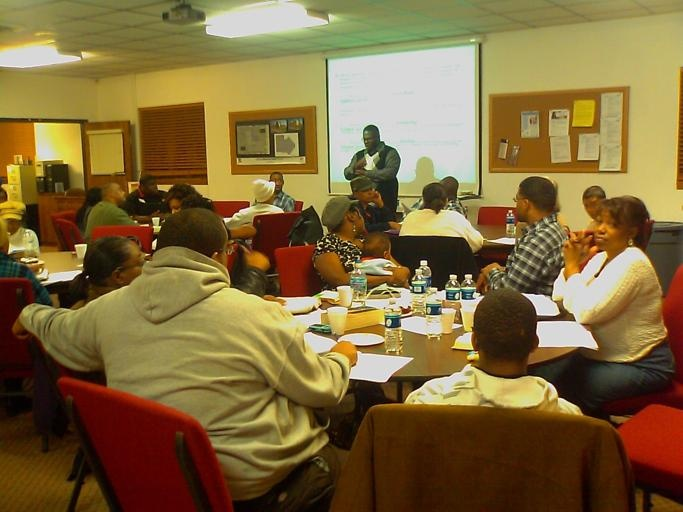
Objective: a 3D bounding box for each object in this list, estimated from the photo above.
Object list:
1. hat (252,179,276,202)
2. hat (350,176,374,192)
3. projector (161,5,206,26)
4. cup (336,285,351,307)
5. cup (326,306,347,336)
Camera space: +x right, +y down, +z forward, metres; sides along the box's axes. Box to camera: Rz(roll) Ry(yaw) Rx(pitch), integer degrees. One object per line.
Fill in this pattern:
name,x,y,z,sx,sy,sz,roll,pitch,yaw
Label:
hat,-0.919,-0.750,6.161,0.269,0.229,0.144,37,4,40
hat,0.199,-0.692,5.294,0.195,0.090,0.138,-11,14,1
projector,-1.547,-2.296,5.315,0.297,0.088,0.249,-2,3,-20
cup,0.016,0.209,2.865,0.094,0.094,0.090,-1,5,0
cup,-0.020,0.297,2.489,0.116,0.115,0.113,-1,2,0
